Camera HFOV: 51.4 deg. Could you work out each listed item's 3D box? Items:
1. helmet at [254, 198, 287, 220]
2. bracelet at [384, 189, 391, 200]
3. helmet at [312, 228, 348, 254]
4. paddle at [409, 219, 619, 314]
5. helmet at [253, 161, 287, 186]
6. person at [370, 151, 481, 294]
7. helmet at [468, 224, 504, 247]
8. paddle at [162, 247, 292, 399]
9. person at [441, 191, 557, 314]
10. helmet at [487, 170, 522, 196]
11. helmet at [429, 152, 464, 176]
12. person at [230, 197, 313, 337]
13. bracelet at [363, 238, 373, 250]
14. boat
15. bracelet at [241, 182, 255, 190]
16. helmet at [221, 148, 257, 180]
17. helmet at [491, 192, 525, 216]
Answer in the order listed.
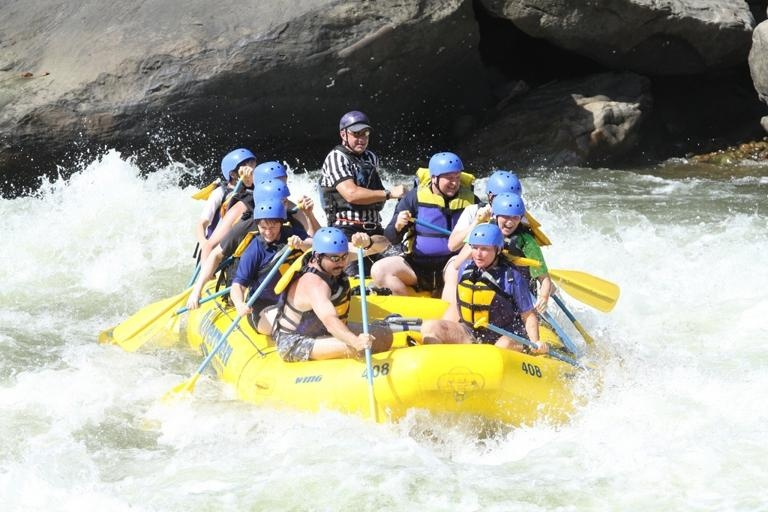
[{"bbox_3d":[-1.312,-0.496,9.037,0.366,0.191,0.237,-9,57,3],"label":"helmet"},{"bbox_3d":[0.043,-0.773,10.090,0.078,0.107,0.121,4,32,-2],"label":"bracelet"},{"bbox_3d":[-0.562,-0.159,8.500,0.256,0.330,0.203,-2,90,-35],"label":"helmet"},{"bbox_3d":[1.545,0.044,9.418,2.775,0.179,0.452,19,56,-5],"label":"paddle"},{"bbox_3d":[-1.418,-1.017,9.780,0.351,0.263,0.272,-25,95,16],"label":"helmet"},{"bbox_3d":[0.624,-0.253,9.986,1.276,1.172,1.904,1,99,-6],"label":"person"},{"bbox_3d":[1.091,-0.200,8.609,0.359,0.212,0.255,-1,58,8],"label":"helmet"},{"bbox_3d":[-1.793,0.830,9.336,0.300,0.164,2.097,39,94,4],"label":"paddle"},{"bbox_3d":[1.249,0.004,9.116,0.960,1.155,0.961,33,51,32],"label":"person"},{"bbox_3d":[1.402,-0.872,9.461,0.273,0.344,0.320,0,106,-10],"label":"helmet"},{"bbox_3d":[0.740,-1.107,9.765,0.347,0.265,0.272,-11,95,40],"label":"helmet"},{"bbox_3d":[-1.233,0.112,9.232,1.020,1.502,0.901,-1,22,3],"label":"person"},{"bbox_3d":[-0.169,-0.142,9.419,0.106,0.049,0.121,-18,50,34],"label":"bracelet"},{"bbox_3d":[-0.102,1.236,8.665,3.490,0.680,2.054,5,23,11],"label":"boat"},{"bbox_3d":[-1.754,-0.870,10.179,0.122,0.169,0.060,-1,78,-6],"label":"bracelet"},{"bbox_3d":[-1.929,-1.194,10.405,0.463,0.344,0.361,-2,99,23],"label":"helmet"},{"bbox_3d":[1.374,-0.563,8.835,0.236,0.311,0.242,1,86,-4],"label":"helmet"}]
